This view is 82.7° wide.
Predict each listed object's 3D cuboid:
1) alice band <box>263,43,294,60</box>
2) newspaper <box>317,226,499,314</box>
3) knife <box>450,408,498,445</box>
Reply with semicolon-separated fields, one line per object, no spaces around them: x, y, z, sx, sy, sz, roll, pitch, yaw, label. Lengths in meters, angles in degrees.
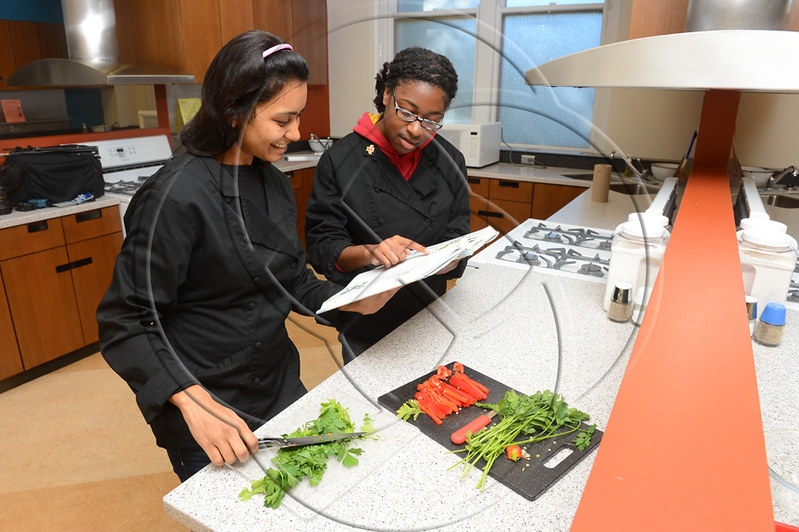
-0.217;-0.390;0.825;0.052;0.015;0.044;-12;2;38;alice band
0.013;0.009;1.076;0.380;0.040;0.356;-26;-3;42;newspaper
0.158;0.311;0.931;0.032;0.017;0.167;15;28;36;knife
